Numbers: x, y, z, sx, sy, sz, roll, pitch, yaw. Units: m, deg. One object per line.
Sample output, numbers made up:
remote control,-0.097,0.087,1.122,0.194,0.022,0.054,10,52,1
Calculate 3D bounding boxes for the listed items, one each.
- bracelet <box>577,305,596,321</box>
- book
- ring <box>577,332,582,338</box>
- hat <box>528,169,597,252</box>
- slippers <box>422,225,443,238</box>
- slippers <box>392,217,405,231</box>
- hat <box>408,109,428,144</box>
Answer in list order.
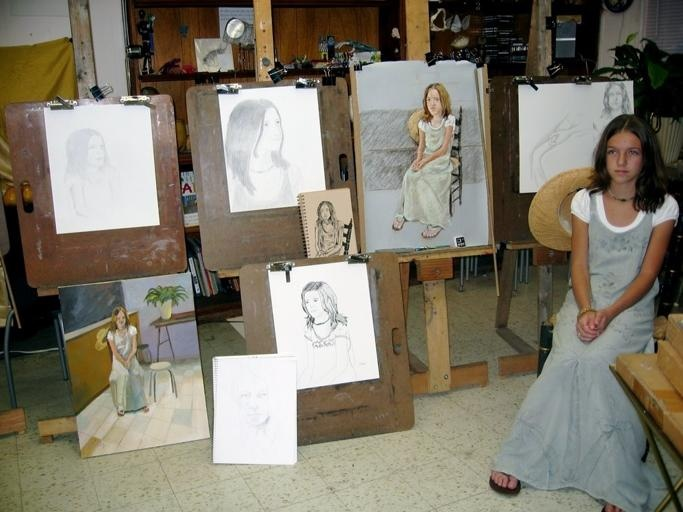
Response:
bracelet,1.080,0.245,2.335,0.050,0.063,0.025,-5,57,-16
book,-1.060,0.111,4.406,0.359,0.633,0.503,-9,17,-13
ring,1.046,0.341,2.317,0.014,0.016,0.014,-2,-9,0
hat,1.071,-0.180,2.598,0.319,0.358,0.093,-14,36,-7
slippers,0.480,-0.128,2.792,0.096,0.056,0.042,-21,9,-3
slippers,0.300,-0.172,2.763,0.050,0.078,0.021,9,3,-4
hat,0.387,-0.672,2.738,0.091,0.164,0.032,-11,17,-20
